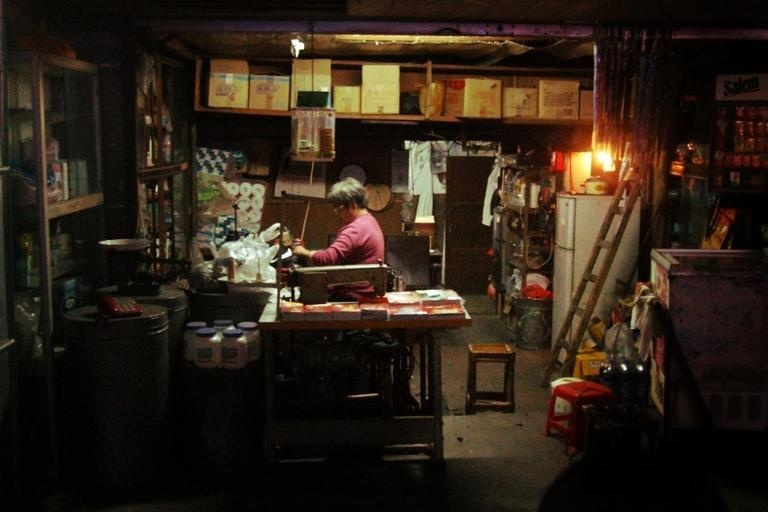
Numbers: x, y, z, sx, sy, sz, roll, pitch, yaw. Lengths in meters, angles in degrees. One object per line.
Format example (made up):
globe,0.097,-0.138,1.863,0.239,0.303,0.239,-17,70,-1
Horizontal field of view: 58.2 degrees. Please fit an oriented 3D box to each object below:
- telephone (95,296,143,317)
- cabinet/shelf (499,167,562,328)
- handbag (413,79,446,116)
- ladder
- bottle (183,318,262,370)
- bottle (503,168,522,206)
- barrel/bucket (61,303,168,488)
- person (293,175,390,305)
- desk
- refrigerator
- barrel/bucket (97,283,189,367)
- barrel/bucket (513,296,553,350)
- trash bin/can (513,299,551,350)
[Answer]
telephone,-2.135,0.415,5.552,0.208,0.088,0.283,2,11,-16
cabinet/shelf,2.032,-0.133,9.389,0.695,2.213,2.289,1,4,2
handbag,0.575,-1.977,8.624,0.366,0.468,0.113,4,7,1
ladder,2.487,0.136,8.162,1.434,2.541,0.868,-3,11,-8
bottle,-1.368,0.760,5.853,0.576,0.282,0.359,0,3,0
bottle,1.859,-0.992,9.929,0.193,0.484,0.301,-4,12,-18
barrel/bucket,-2.126,1.158,5.594,0.803,1.457,0.417,-6,12,-21
person,-0.439,-0.170,7.033,0.985,1.193,0.948,-4,5,-9
desk,-0.236,1.262,6.529,2.105,1.439,1.952,0,-12,0
refrigerator,2.754,0.455,8.583,0.927,2.349,0.832,3,-28,13
barrel/bucket,-2.075,0.586,6.289,0.725,0.730,0.702,2,3,0
barrel/bucket,1.966,0.862,9.327,0.632,0.771,0.747,3,10,11
trash bin/can,1.989,0.925,9.314,0.630,0.717,0.648,-1,-5,3
